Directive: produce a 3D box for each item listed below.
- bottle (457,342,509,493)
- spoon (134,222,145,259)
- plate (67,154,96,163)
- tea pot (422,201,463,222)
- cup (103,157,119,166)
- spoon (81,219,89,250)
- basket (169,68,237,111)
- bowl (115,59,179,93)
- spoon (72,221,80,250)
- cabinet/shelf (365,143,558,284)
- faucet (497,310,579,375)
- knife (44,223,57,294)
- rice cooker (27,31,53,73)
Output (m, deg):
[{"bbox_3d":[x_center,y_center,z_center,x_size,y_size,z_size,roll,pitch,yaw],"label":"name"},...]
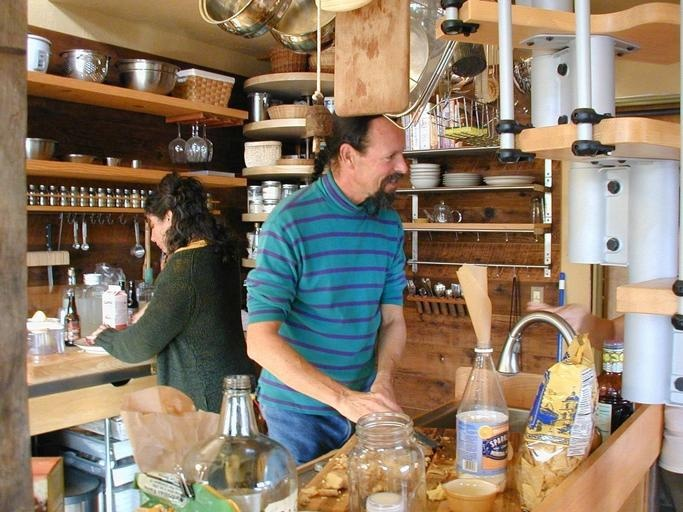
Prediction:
[{"bbox_3d":[0.283,0.329,1.073,0.099,0.264,0.100,-1,4,0],"label":"bottle"},{"bbox_3d":[-1.363,-0.112,3.628,0.085,0.217,0.040,-3,1,-23],"label":"spoon"},{"bbox_3d":[-1.471,-0.554,3.056,0.066,0.057,0.171,0,3,22],"label":"plate"},{"bbox_3d":[0.751,-0.322,3.945,0.294,0.138,0.156,2,1,14],"label":"tea pot"},{"bbox_3d":[-1.393,-0.567,3.253,0.089,0.049,0.079,-1,-4,-4],"label":"cup"},{"bbox_3d":[-1.613,-0.132,3.371,0.046,0.195,0.096,-3,4,-22],"label":"spoon"},{"bbox_3d":[-0.898,-1.111,3.641,0.278,0.160,0.404,8,4,41],"label":"basket"},{"bbox_3d":[-1.192,-1.097,3.356,0.416,0.162,0.361,0,9,-17],"label":"bowl"},{"bbox_3d":[-1.652,-0.128,3.336,0.048,0.188,0.073,-3,4,-19],"label":"spoon"},{"bbox_3d":[0.788,-0.264,3.178,1.452,0.938,0.420,0,-1,24],"label":"cabinet/shelf"},{"bbox_3d":[0.450,0.207,1.220,0.164,0.163,0.214,1,4,25],"label":"faucet"},{"bbox_3d":[-1.733,0.004,3.199,0.045,0.403,0.139,-4,5,-27],"label":"knife"},{"bbox_3d":[-1.570,-1.060,2.789,0.101,0.209,0.189,-3,4,-27],"label":"rice cooker"}]
